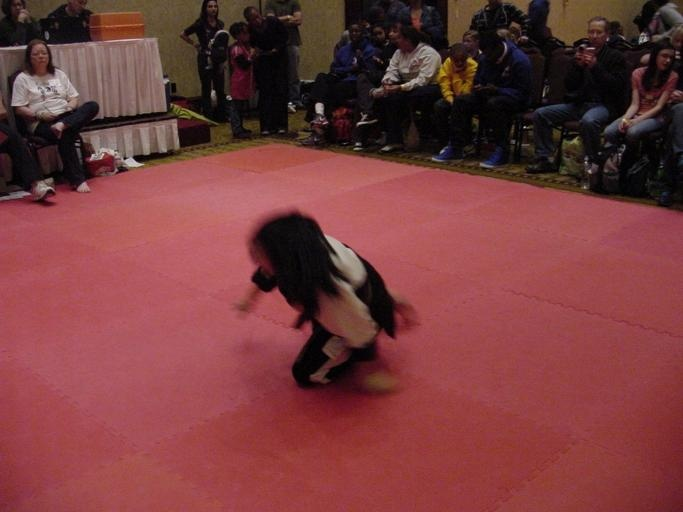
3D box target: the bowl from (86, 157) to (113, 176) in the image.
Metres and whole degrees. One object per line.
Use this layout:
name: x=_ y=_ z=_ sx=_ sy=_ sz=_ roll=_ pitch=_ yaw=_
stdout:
bowl: x=-3.051 y=-1.142 z=6.590 sx=0.240 sy=0.182 sz=0.232 roll=-5 pitch=15 yaw=1

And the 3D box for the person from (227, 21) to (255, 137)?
person: x=-1.649 y=-2.923 z=8.591 sx=0.425 sy=1.759 sz=0.858 roll=-4 pitch=21 yaw=-12

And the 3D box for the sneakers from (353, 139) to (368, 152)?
sneakers: x=0.259 y=-1.622 z=7.621 sx=0.086 sy=0.118 sz=0.272 roll=2 pitch=6 yaw=17

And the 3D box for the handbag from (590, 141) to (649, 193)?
handbag: x=2.881 y=-0.929 z=5.467 sx=0.394 sy=0.607 sz=0.543 roll=-8 pitch=17 yaw=-31

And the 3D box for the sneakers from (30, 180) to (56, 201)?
sneakers: x=-3.260 y=-0.726 z=5.691 sx=0.139 sy=0.200 sz=0.368 roll=-20 pitch=11 yaw=-35

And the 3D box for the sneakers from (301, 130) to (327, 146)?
sneakers: x=-0.409 y=-1.831 z=8.020 sx=0.445 sy=0.232 sz=0.180 roll=-2 pitch=18 yaw=-7

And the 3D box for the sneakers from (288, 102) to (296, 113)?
sneakers: x=-1.025 y=-3.093 z=10.722 sx=0.189 sy=0.085 sz=0.256 roll=-19 pitch=39 yaw=-27

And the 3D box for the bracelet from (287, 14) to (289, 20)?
bracelet: x=-1.011 y=-4.626 z=9.949 sx=0.025 sy=0.119 sz=0.111 roll=10 pitch=5 yaw=-6

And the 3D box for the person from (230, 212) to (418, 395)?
person: x=-0.104 y=0.306 z=2.887 sx=0.490 sy=0.428 sz=0.805 roll=-22 pitch=-27 yaw=6

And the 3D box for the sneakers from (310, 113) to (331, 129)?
sneakers: x=-0.314 y=-2.052 z=7.897 sx=0.183 sy=0.134 sz=0.352 roll=36 pitch=-5 yaw=-34

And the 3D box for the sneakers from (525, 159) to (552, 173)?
sneakers: x=2.364 y=-1.114 z=6.303 sx=0.365 sy=0.182 sz=0.142 roll=-5 pitch=16 yaw=-20

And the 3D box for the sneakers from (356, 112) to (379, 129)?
sneakers: x=0.384 y=-2.013 z=7.607 sx=0.357 sy=0.172 sz=0.133 roll=-9 pitch=-4 yaw=-37

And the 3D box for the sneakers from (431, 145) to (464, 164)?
sneakers: x=1.326 y=-1.352 z=6.855 sx=0.515 sy=0.255 sz=0.186 roll=-3 pitch=14 yaw=-18

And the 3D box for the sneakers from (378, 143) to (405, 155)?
sneakers: x=0.724 y=-1.542 z=7.483 sx=0.367 sy=0.168 sz=0.140 roll=-4 pitch=16 yaw=-28
